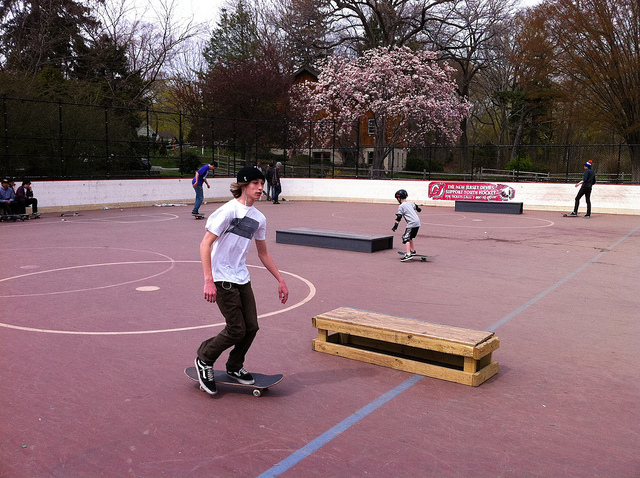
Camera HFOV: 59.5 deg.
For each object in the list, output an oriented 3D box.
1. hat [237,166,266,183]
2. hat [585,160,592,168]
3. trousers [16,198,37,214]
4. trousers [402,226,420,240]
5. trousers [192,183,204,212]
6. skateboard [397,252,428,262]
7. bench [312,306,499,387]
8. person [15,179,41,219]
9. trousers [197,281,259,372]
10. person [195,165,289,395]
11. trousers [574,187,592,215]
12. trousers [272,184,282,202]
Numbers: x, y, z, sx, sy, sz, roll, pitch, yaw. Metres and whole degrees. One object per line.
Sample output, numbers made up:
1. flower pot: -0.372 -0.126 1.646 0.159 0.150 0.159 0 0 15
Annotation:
1. hat: -0.745 -0.665 5.875 0.195 0.134 0.195 0 -5 -32
2. hat: 10.318 -2.912 21.581 0.290 0.266 0.415 20 7 24
3. trousers: -10.641 -1.159 20.200 0.488 0.621 0.466 -8 2 14
4. trousers: 2.040 -0.085 12.618 0.245 0.442 0.335 22 3 -1
5. trousers: -4.544 -1.531 20.828 0.325 1.141 1.196 -1 12 -10
6. skateboard: 2.187 0.453 12.847 0.820 0.152 0.231 2 8 5
7. bench: 1.028 1.311 6.833 2.147 0.512 0.516 7 13 26
8. person: -10.610 -1.447 20.297 0.679 1.387 1.898 -3 12 -19
9. trousers: -0.978 0.977 5.940 0.610 1.057 0.285 -2 12 -13
10. person: -0.886 0.477 5.995 0.899 2.474 0.514 -7 14 -34
11. trousers: 10.553 -1.489 22.517 0.563 1.158 0.793 6 13 23
12. trousers: -2.227 -2.341 28.962 0.343 0.891 0.960 2 12 4
